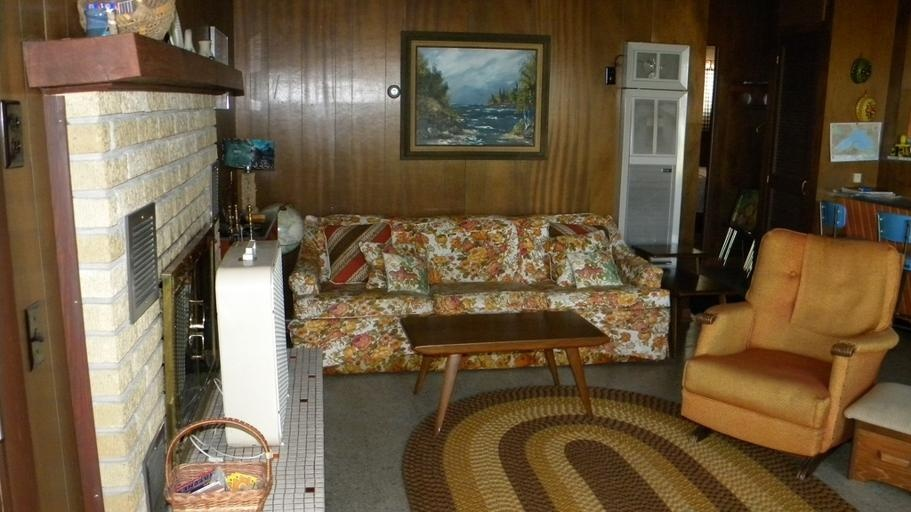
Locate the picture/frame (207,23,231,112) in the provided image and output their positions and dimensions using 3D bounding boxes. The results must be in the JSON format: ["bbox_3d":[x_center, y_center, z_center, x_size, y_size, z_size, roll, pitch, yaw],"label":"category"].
[{"bbox_3d":[-1.860,-1.614,4.954,0.036,0.394,0.365,-21,43,-38],"label":"picture/frame"}]

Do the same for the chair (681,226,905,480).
[{"bbox_3d":[2.392,0.525,4.922,1.919,1.666,1.529,-6,10,-39],"label":"chair"}]
